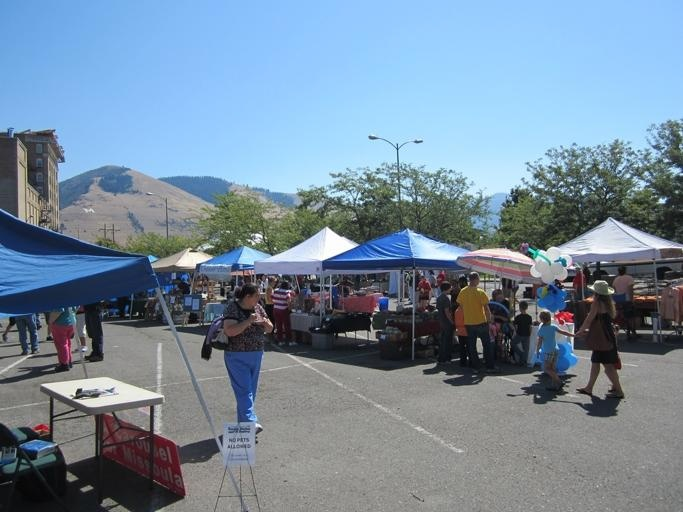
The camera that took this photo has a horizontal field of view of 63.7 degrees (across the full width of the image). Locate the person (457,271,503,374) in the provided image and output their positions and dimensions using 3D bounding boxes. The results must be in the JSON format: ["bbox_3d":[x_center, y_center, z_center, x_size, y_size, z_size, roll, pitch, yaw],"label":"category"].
[{"bbox_3d":[2.937,1.434,12.133,0.761,2.156,0.651,-2,4,32],"label":"person"}]

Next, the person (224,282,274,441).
[{"bbox_3d":[-1.302,1.491,7.626,0.627,2.260,0.885,-1,3,-9],"label":"person"}]

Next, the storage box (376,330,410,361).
[{"bbox_3d":[1.297,2.209,13.666,0.772,0.594,0.627,1,-1,-37],"label":"storage box"}]

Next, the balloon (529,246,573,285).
[{"bbox_3d":[4.888,0.227,12.942,0.758,0.878,1.367,1,3,23],"label":"balloon"}]

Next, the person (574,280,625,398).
[{"bbox_3d":[4.712,1.486,10.025,0.782,2.097,1.138,1,3,26],"label":"person"}]

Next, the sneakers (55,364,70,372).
[{"bbox_3d":[-6.434,2.599,12.687,0.280,0.132,0.111,3,-6,0],"label":"sneakers"}]

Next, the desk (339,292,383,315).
[{"bbox_3d":[0.835,2.009,24.099,1.603,0.830,3.498,0,3,4],"label":"desk"}]

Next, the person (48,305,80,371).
[{"bbox_3d":[-6.427,1.906,12.621,0.537,1.574,1.603,-2,3,-28],"label":"person"}]

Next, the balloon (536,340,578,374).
[{"bbox_3d":[4.531,2.108,11.372,0.740,0.801,0.776,-4,-8,-22],"label":"balloon"}]

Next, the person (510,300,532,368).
[{"bbox_3d":[4.105,1.869,12.683,0.473,1.277,0.545,1,4,34],"label":"person"}]

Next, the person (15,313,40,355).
[{"bbox_3d":[-8.889,2.101,15.537,0.530,1.128,2.198,-2,3,-30],"label":"person"}]

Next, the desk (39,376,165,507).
[{"bbox_3d":[-3.019,2.245,6.917,1.633,1.198,0.872,2,4,45],"label":"desk"}]

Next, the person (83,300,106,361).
[{"bbox_3d":[-6.342,1.896,14.048,0.421,1.461,0.946,-2,3,-25],"label":"person"}]

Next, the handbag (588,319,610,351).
[{"bbox_3d":[4.512,1.375,9.640,0.254,0.568,0.476,-10,10,-43],"label":"handbag"}]

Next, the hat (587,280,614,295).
[{"bbox_3d":[5.991,0.739,12.741,0.530,0.242,0.615,1,17,-13],"label":"hat"}]

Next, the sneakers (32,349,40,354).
[{"bbox_3d":[-8.486,2.650,15.244,0.107,0.054,0.111,-5,0,8],"label":"sneakers"}]

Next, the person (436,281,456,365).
[{"bbox_3d":[2.459,1.547,13.083,0.375,1.868,0.831,0,3,10],"label":"person"}]

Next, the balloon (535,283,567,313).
[{"bbox_3d":[4.739,0.941,12.433,0.569,0.639,1.029,1,3,21],"label":"balloon"}]
